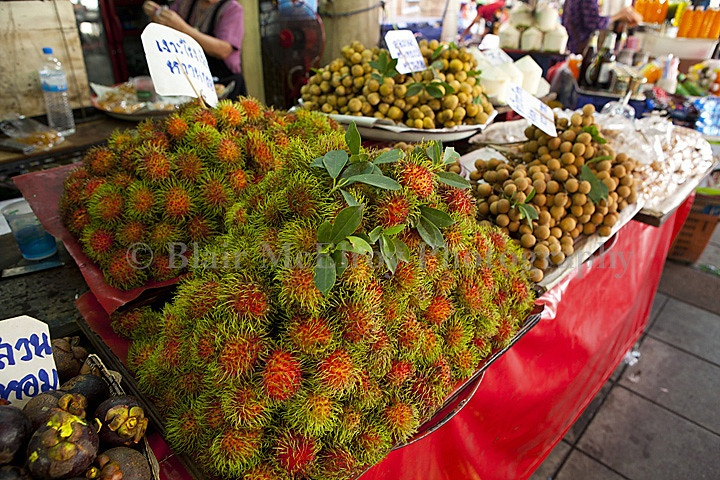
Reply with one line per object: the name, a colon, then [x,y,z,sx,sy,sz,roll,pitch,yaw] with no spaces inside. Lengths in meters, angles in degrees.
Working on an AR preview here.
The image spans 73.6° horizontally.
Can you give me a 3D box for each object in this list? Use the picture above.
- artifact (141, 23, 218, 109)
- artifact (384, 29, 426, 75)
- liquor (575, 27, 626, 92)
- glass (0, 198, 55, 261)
artifact: [-0.705,-0.679,1.876,0.290,0.145,0.362,17,55,-44]
artifact: [0.246,-0.921,2.373,0.144,0.188,0.283,22,34,30]
liquor: [1.755,-1.312,3.526,0.223,0.391,0.395,14,30,18]
glass: [-1.316,-0.041,1.915,0.223,0.187,0.118,25,35,33]
